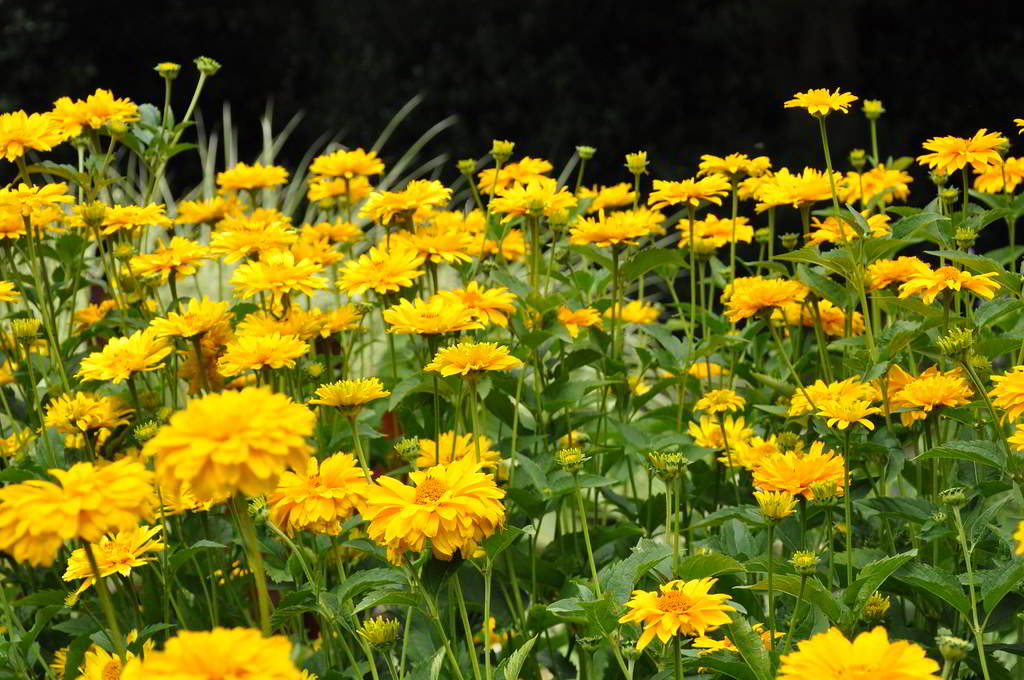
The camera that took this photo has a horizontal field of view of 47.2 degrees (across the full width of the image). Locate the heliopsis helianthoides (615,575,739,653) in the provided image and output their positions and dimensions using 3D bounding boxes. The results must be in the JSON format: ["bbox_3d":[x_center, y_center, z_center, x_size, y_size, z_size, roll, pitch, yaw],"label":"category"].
[{"bbox_3d":[0.272,0.473,1.958,0.199,0.126,0.189,-3,0,26],"label":"heliopsis helianthoides"}]
